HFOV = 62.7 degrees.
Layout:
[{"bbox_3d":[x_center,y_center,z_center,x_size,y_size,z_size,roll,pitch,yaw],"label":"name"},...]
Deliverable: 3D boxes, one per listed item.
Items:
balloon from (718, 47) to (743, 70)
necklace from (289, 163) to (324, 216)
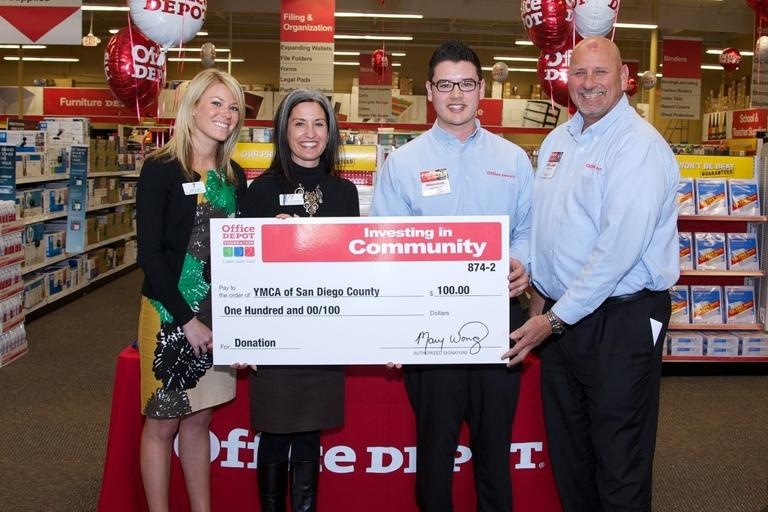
[{"bbox_3d":[7.185,-4.125,13.134,0.337,0.445,1.110,6,15,26],"label":"balloon"},{"bbox_3d":[-0.409,-0.349,3.430,0.124,0.319,0.071,1,-15,-11],"label":"necklace"}]
